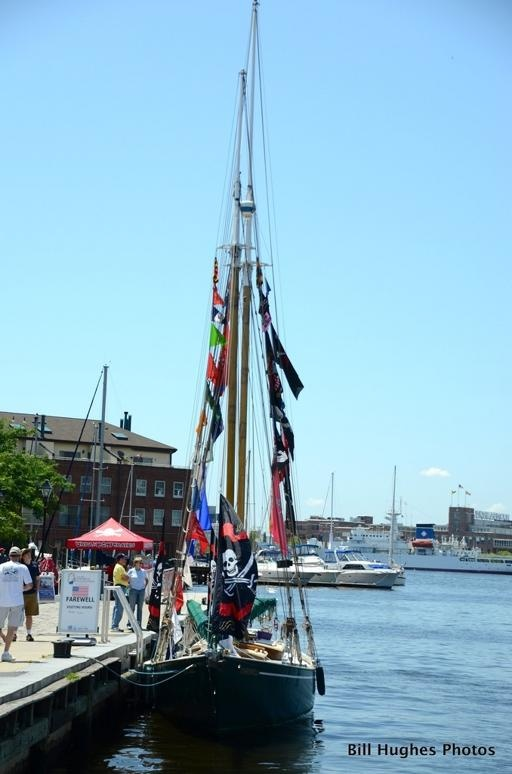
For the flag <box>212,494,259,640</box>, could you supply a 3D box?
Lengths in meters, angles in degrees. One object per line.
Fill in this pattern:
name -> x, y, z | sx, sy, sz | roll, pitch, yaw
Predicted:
flag -> -0.376, 3.184, 15.114 | 0.698, 2.837, 0.299 | 2, 11, 0
